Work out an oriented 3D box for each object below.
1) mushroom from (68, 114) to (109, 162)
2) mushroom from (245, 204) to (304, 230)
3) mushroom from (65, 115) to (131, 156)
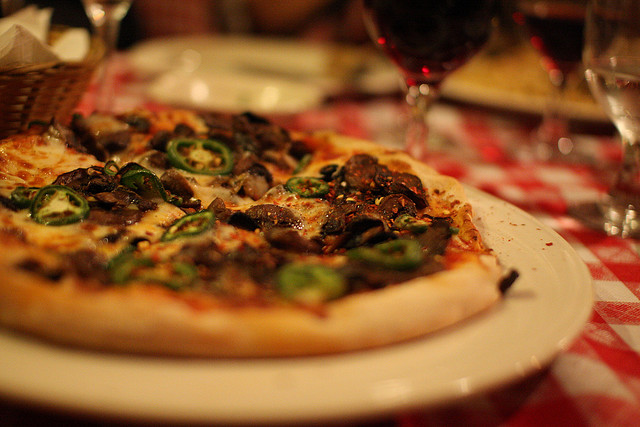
[{"bbox_3d":[-0.969,-0.306,2.483,0.142,0.055,0.227,-38,68,2],"label":"mushroom"},{"bbox_3d":[-0.162,0.010,1.967,0.137,0.033,0.103,20,21,-7],"label":"mushroom"},{"bbox_3d":[-0.915,-0.333,2.408,0.211,0.060,0.178,-11,46,-26],"label":"mushroom"}]
